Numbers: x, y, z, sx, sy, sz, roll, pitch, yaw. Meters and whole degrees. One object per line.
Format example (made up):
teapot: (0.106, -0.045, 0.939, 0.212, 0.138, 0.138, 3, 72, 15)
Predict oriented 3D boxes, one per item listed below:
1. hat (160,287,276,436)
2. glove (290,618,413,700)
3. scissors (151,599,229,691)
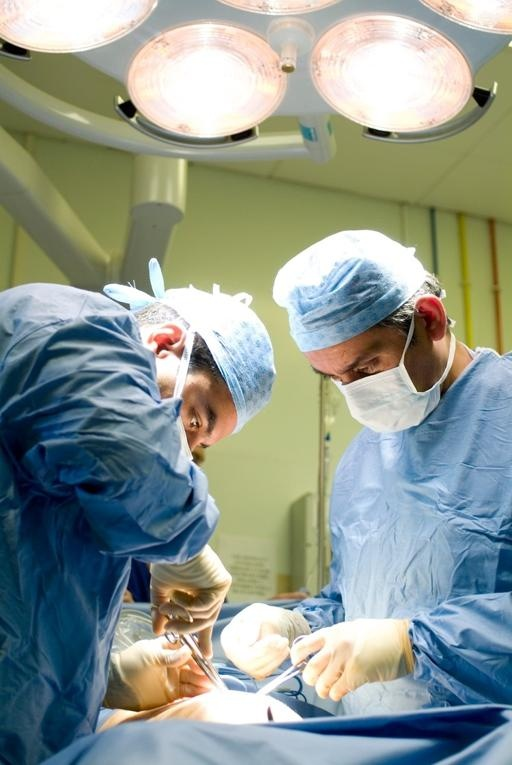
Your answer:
hat: (-0.038, -0.046, 1.594, 0.257, 0.318, 0.254, 1, 6, 11)
glove: (0.218, 0.619, 1.598, 0.267, 0.168, 0.152, -2, -8, 18)
scissors: (-0.144, 0.554, 1.520, 0.087, 0.227, 0.033, -36, -8, -48)
